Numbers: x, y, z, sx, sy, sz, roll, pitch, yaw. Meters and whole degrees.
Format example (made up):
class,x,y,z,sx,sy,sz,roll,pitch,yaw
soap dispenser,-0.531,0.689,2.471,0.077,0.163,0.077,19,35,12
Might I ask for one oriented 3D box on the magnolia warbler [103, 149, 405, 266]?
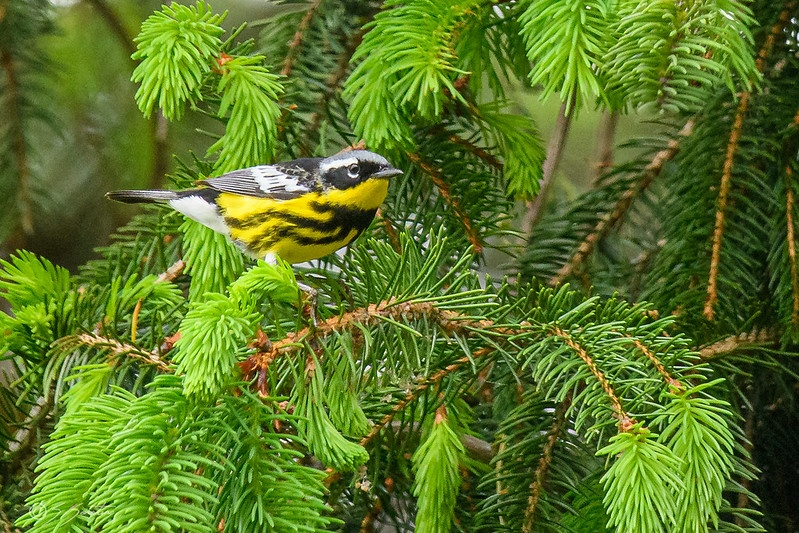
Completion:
class,x,y,z,sx,sy,sz,roll,pitch,yaw
magnolia warbler,-0.479,-0.188,3.894,1.305,0.364,0.502,-1,53,-5
